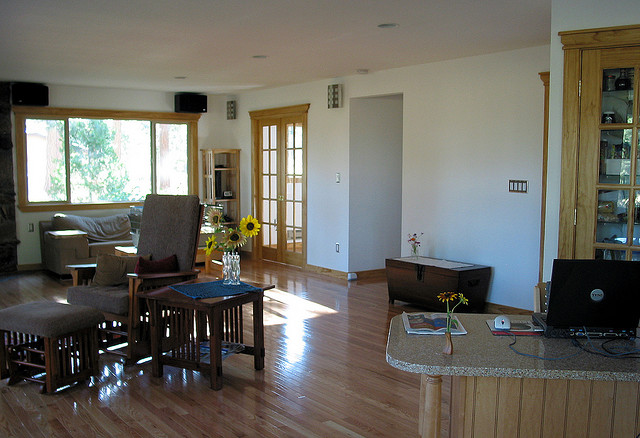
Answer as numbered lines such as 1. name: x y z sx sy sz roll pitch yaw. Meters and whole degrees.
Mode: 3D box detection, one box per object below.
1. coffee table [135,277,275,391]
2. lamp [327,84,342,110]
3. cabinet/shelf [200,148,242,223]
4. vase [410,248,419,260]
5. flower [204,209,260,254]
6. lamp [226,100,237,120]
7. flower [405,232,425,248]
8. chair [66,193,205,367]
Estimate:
1. coffee table: -0.970 0.859 4.335 0.936 0.782 0.982 2 4 39
2. lamp: 0.230 -1.896 7.391 0.285 0.376 0.100 7 12 38
3. cabinet/shelf: -1.902 -0.578 9.206 0.689 1.529 0.460 -6 13 -42
4. vase: 1.250 0.464 6.353 0.133 0.144 0.134 -1 -2 29
5. flower: -0.814 0.130 4.332 0.407 0.413 0.533 -4 10 -23
6. lamp: -1.703 -2.131 9.361 0.275 0.382 0.098 9 13 44
7. flower: 1.285 0.270 6.515 0.188 0.106 0.187 -17 8 17
8. chair: -1.772 0.504 4.686 1.147 1.484 1.146 2 5 10
